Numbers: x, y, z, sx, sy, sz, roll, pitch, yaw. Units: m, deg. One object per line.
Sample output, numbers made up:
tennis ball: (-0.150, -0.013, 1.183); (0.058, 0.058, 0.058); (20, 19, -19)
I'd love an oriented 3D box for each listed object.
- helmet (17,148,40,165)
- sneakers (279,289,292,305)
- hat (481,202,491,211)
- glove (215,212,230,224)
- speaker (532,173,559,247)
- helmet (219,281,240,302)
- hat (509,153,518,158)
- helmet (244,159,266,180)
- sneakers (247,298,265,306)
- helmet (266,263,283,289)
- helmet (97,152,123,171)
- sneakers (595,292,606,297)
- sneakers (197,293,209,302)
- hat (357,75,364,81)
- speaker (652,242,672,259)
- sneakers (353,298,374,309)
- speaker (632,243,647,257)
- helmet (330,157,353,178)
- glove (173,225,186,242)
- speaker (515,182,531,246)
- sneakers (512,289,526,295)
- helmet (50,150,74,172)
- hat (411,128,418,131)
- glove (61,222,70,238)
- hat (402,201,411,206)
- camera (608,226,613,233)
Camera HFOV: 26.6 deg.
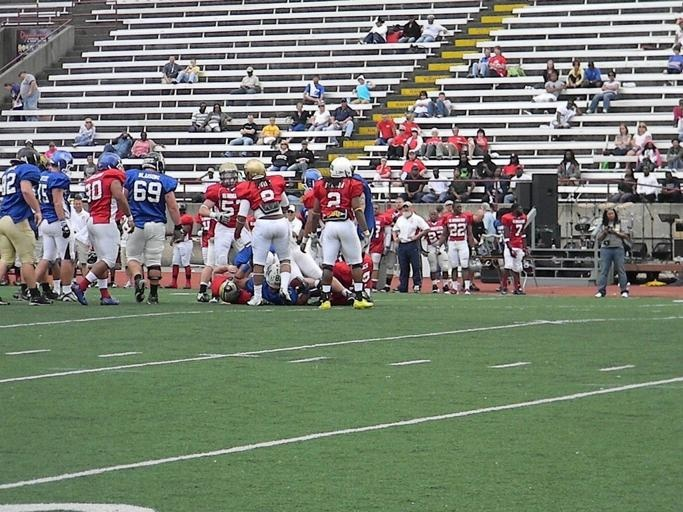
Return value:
helmet: (-5.266, -1.658, 24.241); (0.260, 0.337, 0.306); (5, -7, -2)
sneakers: (-0.920, 0.709, 24.053); (0.121, 0.325, 0.149); (-13, 34, 0)
hat: (3.011, -0.986, 29.888); (0.190, 0.132, 0.144); (28, 7, -38)
glove: (-2.079, -0.629, 25.250); (0.245, 0.219, 0.153); (-2, 12, -8)
speaker: (4.399, -0.947, 30.839); (0.569, 1.485, 0.634); (0, 12, 2)
helmet: (-1.928, 0.622, 24.672); (0.308, 0.377, 0.359); (-3, 17, -40)
hat: (3.868, -2.205, 32.271); (0.113, 0.156, 0.152); (-2, 5, 31)
helmet: (-1.417, -1.412, 23.820); (0.288, 0.293, 0.357); (-8, 15, -8)
sneakers: (-1.433, 0.811, 24.281); (0.285, 0.127, 0.102); (4, -2, -19)
helmet: (-1.128, 0.390, 24.236); (0.298, 0.386, 0.384); (4, -18, -8)
helmet: (-3.899, -1.570, 24.204); (0.408, 0.255, 0.535); (-3, 12, -10)
sneakers: (4.863, 0.769, 27.019); (0.205, 0.086, 0.075); (2, 3, -12)
sneakers: (-2.406, 0.765, 25.185); (0.202, 0.134, 0.113); (-3, 7, -13)
hat: (0.526, -4.661, 37.985); (0.297, 0.111, 0.419); (-1, 3, -1)
speaker: (6.867, -0.049, 30.775); (0.347, 0.354, 0.392); (0, -3, 18)
sneakers: (0.379, 0.813, 23.734); (0.340, 0.133, 0.169); (-5, -9, 2)
speaker: (6.400, -0.085, 30.786); (0.384, 0.356, 0.283); (-3, -13, 14)
helmet: (0.036, -1.442, 23.552); (0.373, 0.315, 0.272); (-7, 25, -13)
glove: (-2.939, -0.379, 26.132); (0.214, 0.143, 0.370); (3, 43, 8)
speaker: (3.991, -0.900, 31.030); (0.318, 1.293, 0.793); (-2, 12, -7)
sneakers: (3.495, 0.745, 28.264); (0.124, 0.099, 0.301); (-16, -6, 17)
helmet: (-4.763, -1.619, 24.634); (0.387, 0.342, 0.289); (-18, 43, -32)
hat: (1.802, -3.020, 34.953); (0.131, 0.077, 0.184); (-1, 12, -5)
glove: (-4.625, -0.396, 24.167); (0.148, 0.202, 0.061); (5, -3, 29)
hat: (1.323, -1.023, 28.737); (0.124, 0.089, 0.204); (1, -11, 13)
camera: (4.977, -0.467, 26.560); (0.093, 0.130, 0.047); (-1, 2, 1)
